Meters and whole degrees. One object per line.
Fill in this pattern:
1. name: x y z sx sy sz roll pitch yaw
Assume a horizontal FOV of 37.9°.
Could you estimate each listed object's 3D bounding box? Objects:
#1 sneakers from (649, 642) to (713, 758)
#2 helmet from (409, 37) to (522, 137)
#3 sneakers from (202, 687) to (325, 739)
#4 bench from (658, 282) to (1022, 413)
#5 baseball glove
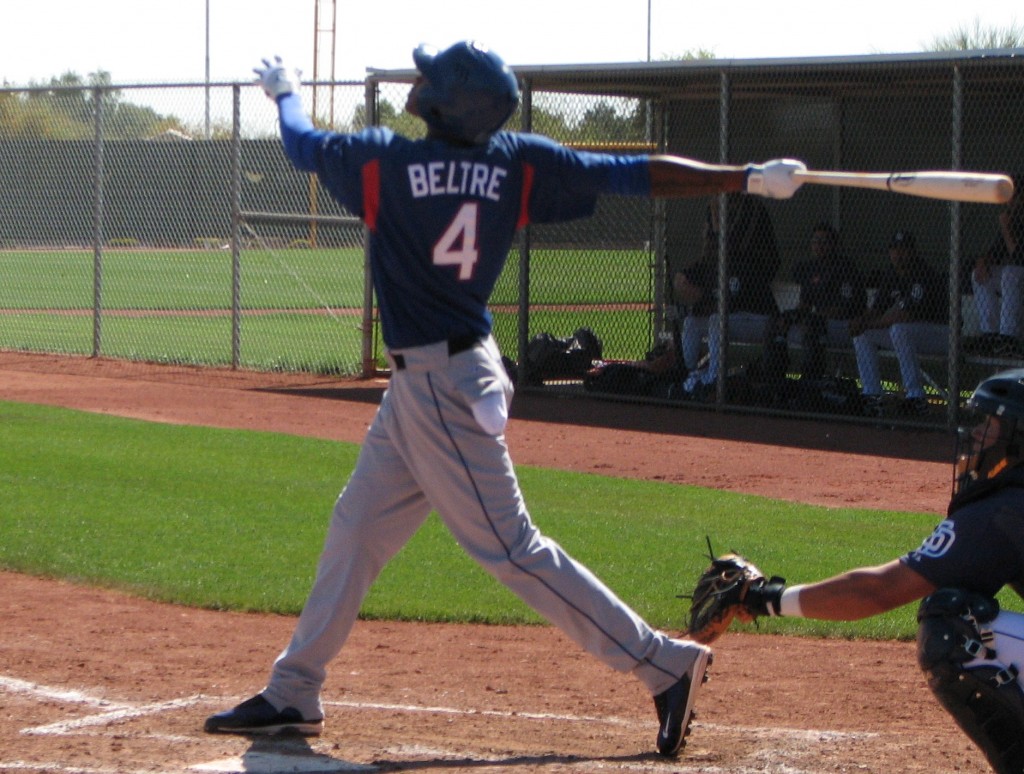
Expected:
1. sneakers: 0.672 1.259 5.926 0.219 0.524 0.162 8 -1 -2
2. helmet: -0.203 -1.141 5.823 0.428 0.393 0.228 1 8 -2
3. sneakers: -1.000 1.325 6.046 0.472 0.223 0.186 7 -8 -8
4. bench: 3.202 -0.187 13.192 2.747 0.985 1.177 -1 12 33
5. baseball glove: 0.905 0.872 6.013 0.155 0.349 0.387 27 -38 -36
